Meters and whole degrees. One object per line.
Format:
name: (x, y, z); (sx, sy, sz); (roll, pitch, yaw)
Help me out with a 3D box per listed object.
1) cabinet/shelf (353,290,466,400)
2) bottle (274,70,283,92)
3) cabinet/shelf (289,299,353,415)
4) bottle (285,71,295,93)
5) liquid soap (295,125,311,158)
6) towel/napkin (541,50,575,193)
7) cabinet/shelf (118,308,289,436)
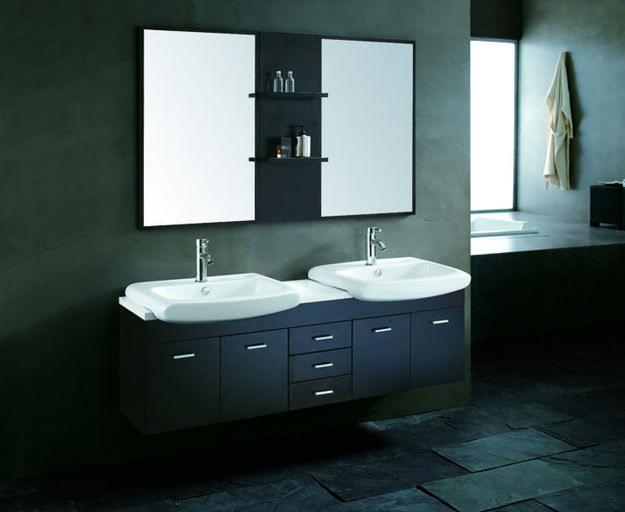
cabinet/shelf: (0.419, 0.447, 3.147); (0.728, 0.482, 0.393); (-5, 8, -29)
bottle: (-0.174, -0.894, 3.008); (0.063, 0.111, 0.023); (-11, 14, -38)
cabinet/shelf: (0.077, 0.592, 2.897); (0.320, 0.283, 0.437); (-10, 54, 12)
bottle: (-0.118, -0.899, 3.040); (0.024, 0.109, 0.059); (7, 15, 39)
liquid soap: (-0.062, -0.601, 3.110); (0.096, 0.162, 0.078); (-4, 12, -31)
towel/napkin: (2.768, -1.506, 6.560); (0.309, 1.515, 0.311); (3, 12, 22)
cabinet/shelf: (-0.497, 0.495, 2.728); (0.720, 0.476, 0.391); (-3, 7, -31)
